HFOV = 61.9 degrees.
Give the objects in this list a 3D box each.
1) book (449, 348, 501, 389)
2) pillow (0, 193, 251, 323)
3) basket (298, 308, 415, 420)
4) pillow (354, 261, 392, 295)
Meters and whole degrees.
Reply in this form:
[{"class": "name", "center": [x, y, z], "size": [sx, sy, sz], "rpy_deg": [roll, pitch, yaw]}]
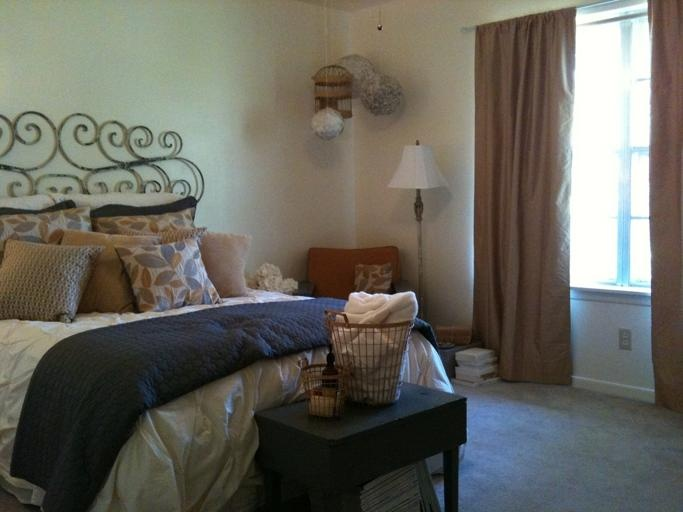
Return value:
[{"class": "book", "center": [1.025, 0.815, 4.266], "size": [0.235, 0.248, 0.317], "rpy_deg": [-7, 3, -38]}, {"class": "pillow", "center": [-1.296, -0.061, 3.657], "size": [1.360, 0.685, 0.870], "rpy_deg": [-9, 12, -44]}, {"class": "basket", "center": [0.058, 0.423, 2.360], "size": [0.432, 0.391, 0.382], "rpy_deg": [-2, -2, -1]}, {"class": "pillow", "center": [0.257, 0.179, 4.588], "size": [0.248, 0.257, 0.081], "rpy_deg": [-3, -26, 14]}]
